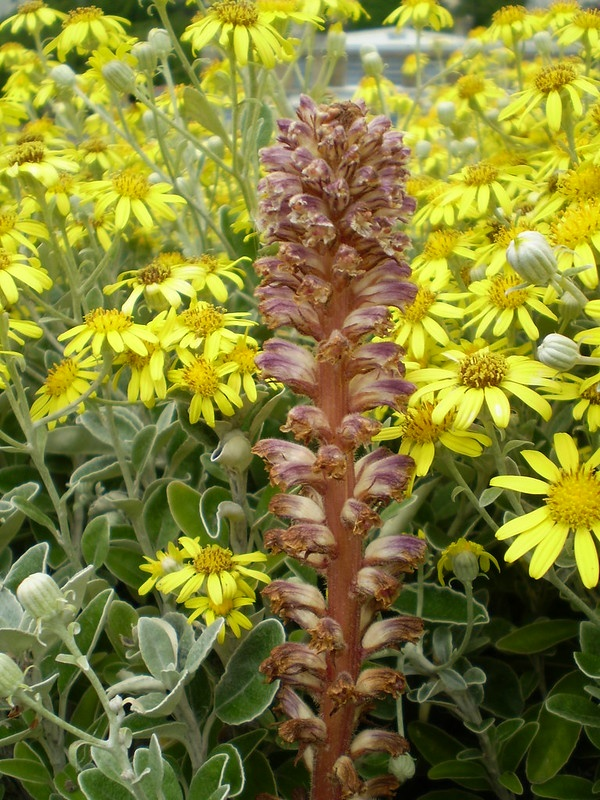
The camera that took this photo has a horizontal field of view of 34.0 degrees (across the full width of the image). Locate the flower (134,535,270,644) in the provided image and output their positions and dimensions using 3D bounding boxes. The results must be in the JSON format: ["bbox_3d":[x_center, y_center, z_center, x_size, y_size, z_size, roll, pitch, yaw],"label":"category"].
[{"bbox_3d":[-0.187,0.334,1.868,0.243,0.116,0.217,3,23,-34],"label":"flower"}]
